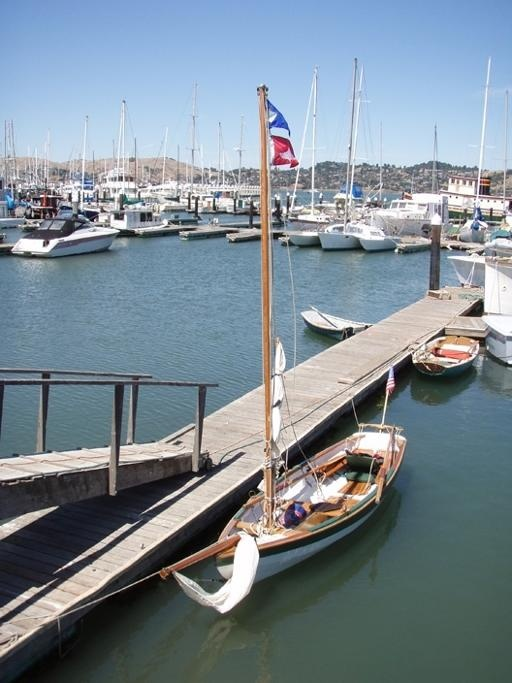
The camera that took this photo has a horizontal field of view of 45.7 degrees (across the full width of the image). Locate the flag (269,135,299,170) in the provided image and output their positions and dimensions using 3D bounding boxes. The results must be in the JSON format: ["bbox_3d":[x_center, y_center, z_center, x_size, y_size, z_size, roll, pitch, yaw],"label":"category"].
[{"bbox_3d":[0.348,-2.472,7.870,0.308,0.355,0.471,4,14,8],"label":"flag"}]

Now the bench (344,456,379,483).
[{"bbox_3d":[1.854,2.191,10.614,0.397,0.439,0.508,-4,-17,19],"label":"bench"}]
